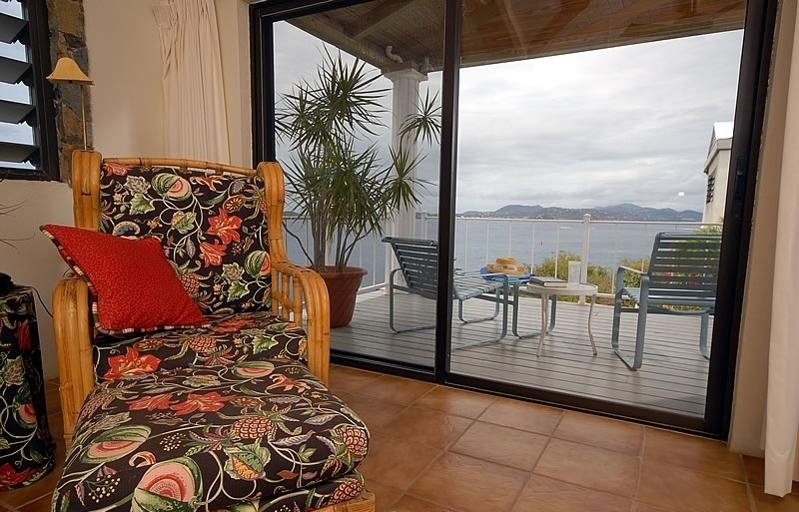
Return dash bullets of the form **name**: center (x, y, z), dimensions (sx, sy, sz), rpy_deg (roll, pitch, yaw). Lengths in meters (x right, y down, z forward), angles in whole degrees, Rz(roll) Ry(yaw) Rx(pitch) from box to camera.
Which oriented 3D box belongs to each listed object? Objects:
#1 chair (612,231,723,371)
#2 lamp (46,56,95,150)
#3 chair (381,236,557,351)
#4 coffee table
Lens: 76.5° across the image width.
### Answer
- **chair**: center (1.649, 0.226, 3.015), dimensions (0.583, 0.713, 0.606), rpy_deg (2, 3, 22)
- **lamp**: center (-2.018, -0.953, 3.116), dimensions (0.217, 0.569, 0.455), rpy_deg (-2, 9, -31)
- **chair**: center (0.542, 0.194, 3.460), dimensions (1.101, 0.674, 0.657), rpy_deg (-4, 9, -32)
- **coffee table**: center (0.952, 0.366, 3.193), dimensions (0.462, 0.435, 0.433), rpy_deg (1, 2, 5)
